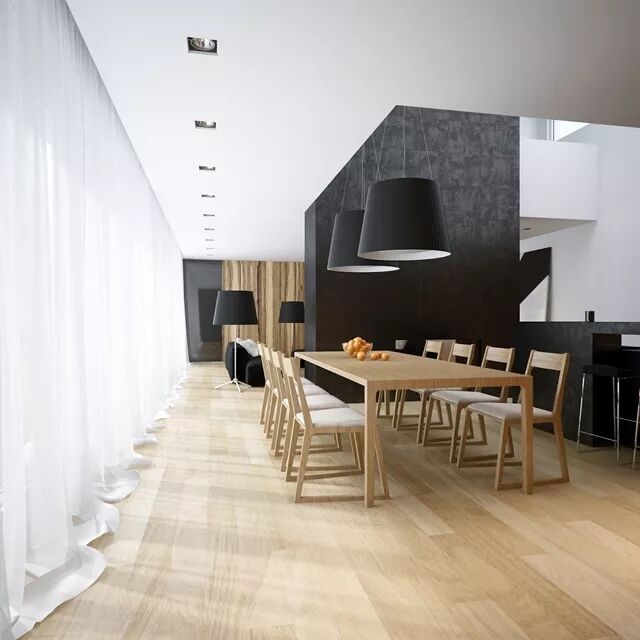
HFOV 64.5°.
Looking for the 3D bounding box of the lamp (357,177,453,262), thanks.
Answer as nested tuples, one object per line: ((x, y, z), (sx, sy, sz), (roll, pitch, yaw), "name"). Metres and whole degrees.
((0.518, -0.623, 3.502), (0.556, 0.520, 0.635), (0, -2, -10), "lamp")

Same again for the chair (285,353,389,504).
((0.056, 0.675, 3.541), (0.660, 1.276, 0.668), (-2, 3, -7), "chair")

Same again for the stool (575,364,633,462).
((2.290, 0.711, 4.051), (0.424, 0.708, 0.497), (1, 2, 30), "stool")

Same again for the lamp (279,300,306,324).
((-0.493, -0.108, 9.460), (0.385, 0.321, 0.385), (2, 0, -41), "lamp")

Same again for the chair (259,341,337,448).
((-0.271, 0.644, 4.355), (0.669, 1.294, 0.677), (0, 2, -10), "chair")

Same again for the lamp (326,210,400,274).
((0.345, -0.585, 4.335), (0.488, 0.498, 0.558), (0, -1, 12), "lamp")

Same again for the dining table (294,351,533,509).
((0.650, 0.694, 3.742), (1.193, 0.735, 1.605), (0, 1, -9), "dining table")

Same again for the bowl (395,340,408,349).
((1.049, 0.329, 6.494), (0.147, 0.138, 0.085), (0, 0, -10), "bowl")

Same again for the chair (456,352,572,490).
((1.323, 0.649, 3.504), (0.487, 0.949, 0.558), (2, 5, -10), "chair")

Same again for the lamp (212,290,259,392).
((-1.298, 0.315, 7.800), (0.597, 1.499, 1.391), (-1, 2, -12), "lamp")

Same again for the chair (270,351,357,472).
((-0.076, 0.654, 3.841), (0.633, 1.285, 0.651), (-1, 1, -9), "chair")

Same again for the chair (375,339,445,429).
((1.067, 0.763, 5.602), (0.571, 0.969, 0.563), (27, 5, 41), "chair")
